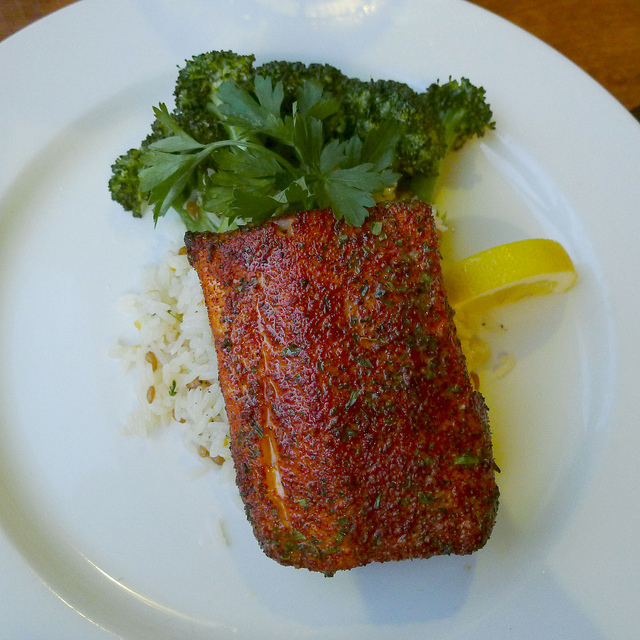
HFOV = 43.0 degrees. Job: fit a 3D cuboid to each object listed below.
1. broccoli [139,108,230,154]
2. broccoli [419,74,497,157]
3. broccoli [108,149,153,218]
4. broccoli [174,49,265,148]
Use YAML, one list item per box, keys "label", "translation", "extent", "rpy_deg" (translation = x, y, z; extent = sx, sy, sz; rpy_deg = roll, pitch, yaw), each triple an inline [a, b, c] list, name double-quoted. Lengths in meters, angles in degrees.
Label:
- label: "broccoli"
  translation: [-0.632, -0.867, 3.740]
  extent: [0.302, 0.252, 0.125]
  rpy_deg: [-22, 86, -17]
- label: "broccoli"
  translation: [0.665, -0.984, 3.901]
  extent: [0.346, 0.321, 0.303]
  rpy_deg: [7, 18, -26]
- label: "broccoli"
  translation: [-0.912, -0.650, 3.857]
  extent: [0.189, 0.285, 0.273]
  rpy_deg: [-13, 58, -2]
- label: "broccoli"
  translation: [-0.449, -0.964, 3.600]
  extent: [0.419, 0.322, 0.369]
  rpy_deg: [-30, 41, -24]
